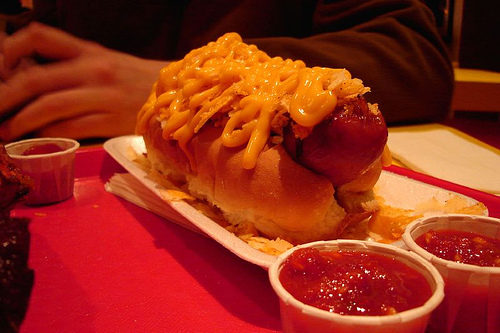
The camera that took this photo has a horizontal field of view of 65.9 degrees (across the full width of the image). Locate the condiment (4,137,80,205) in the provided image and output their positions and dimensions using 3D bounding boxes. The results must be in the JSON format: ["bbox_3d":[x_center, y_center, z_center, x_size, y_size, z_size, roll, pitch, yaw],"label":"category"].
[{"bbox_3d":[-1.027,0.009,2.055,0.376,0.262,0.377,11,19,31],"label":"condiment"}]

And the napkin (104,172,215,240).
[{"bbox_3d":[-0.478,0.214,1.868,0.243,0.071,0.804,-25,33,-34],"label":"napkin"}]
